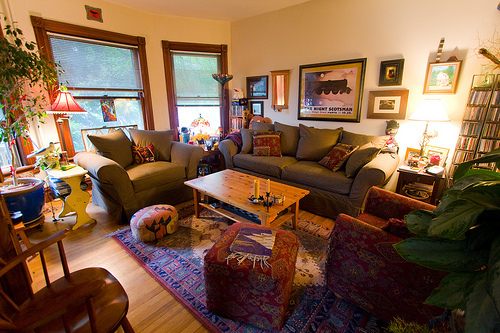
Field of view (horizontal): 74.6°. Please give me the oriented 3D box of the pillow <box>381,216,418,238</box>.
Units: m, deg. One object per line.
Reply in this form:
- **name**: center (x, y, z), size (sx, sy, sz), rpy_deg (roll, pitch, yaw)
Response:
- **pillow**: center (1.362, 0.569, 2.997), size (0.285, 0.202, 0.101), rpy_deg (11, -5, 28)

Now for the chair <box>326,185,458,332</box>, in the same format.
- **chair**: center (1.515, 0.732, 3.513), size (1.234, 0.908, 1.230), rpy_deg (11, 23, 27)

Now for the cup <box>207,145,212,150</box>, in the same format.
- **cup**: center (-0.722, -0.349, 5.808), size (0.075, 0.067, 0.075), rpy_deg (1, 1, 0)

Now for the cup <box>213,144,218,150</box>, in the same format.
- **cup**: center (-0.621, -0.362, 5.910), size (0.098, 0.090, 0.093), rpy_deg (1, 21, 0)

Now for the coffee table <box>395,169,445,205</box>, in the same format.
- **coffee table**: center (2.384, 0.227, 4.668), size (0.515, 0.465, 0.477), rpy_deg (21, 36, 35)

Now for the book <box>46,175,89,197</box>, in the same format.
- **book**: center (-2.608, 0.253, 4.501), size (0.381, 0.145, 0.412), rpy_deg (-9, 12, -39)

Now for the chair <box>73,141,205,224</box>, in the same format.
- **chair**: center (-1.616, 0.118, 5.012), size (1.568, 0.875, 1.158), rpy_deg (-16, 21, -37)

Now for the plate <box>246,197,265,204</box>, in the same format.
- **plate**: center (0.065, 0.398, 3.941), size (0.200, 0.076, 0.113), rpy_deg (-2, 17, 0)

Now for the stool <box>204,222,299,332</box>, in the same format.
- **stool**: center (0.064, 1.072, 3.570), size (0.930, 0.779, 0.914), rpy_deg (8, 18, 18)

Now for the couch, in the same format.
- **couch**: center (0.773, -0.049, 5.312), size (2.812, 1.115, 1.103), rpy_deg (12, 22, 33)

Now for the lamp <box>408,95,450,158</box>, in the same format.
- **lamp**: center (2.480, -0.553, 4.582), size (0.451, 0.792, 0.445), rpy_deg (8, 21, 30)

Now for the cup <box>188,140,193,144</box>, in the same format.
- **cup**: center (-1.056, -0.429, 5.848), size (0.085, 0.074, 0.082), rpy_deg (1, 3, 0)

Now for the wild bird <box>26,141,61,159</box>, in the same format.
- **wild bird**: center (-2.877, -0.224, 4.547), size (0.158, 0.221, 0.477), rpy_deg (17, 23, 42)

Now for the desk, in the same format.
- **desk**: center (-2.369, 0.452, 4.429), size (0.565, 0.678, 0.480), rpy_deg (-12, 1, -41)

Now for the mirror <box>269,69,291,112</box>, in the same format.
- **mirror**: center (0.549, -1.401, 5.945), size (0.367, 0.673, 0.096), rpy_deg (10, 23, 35)
